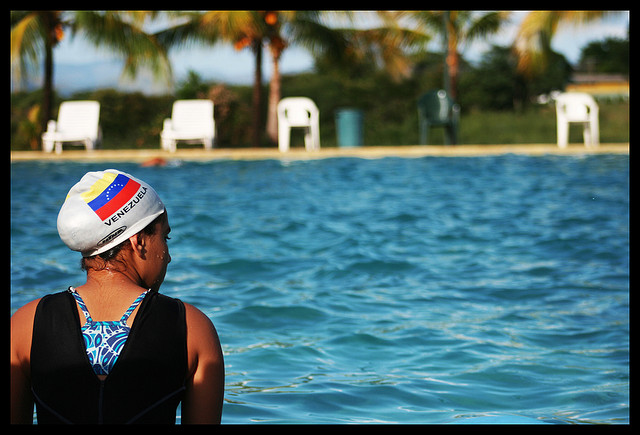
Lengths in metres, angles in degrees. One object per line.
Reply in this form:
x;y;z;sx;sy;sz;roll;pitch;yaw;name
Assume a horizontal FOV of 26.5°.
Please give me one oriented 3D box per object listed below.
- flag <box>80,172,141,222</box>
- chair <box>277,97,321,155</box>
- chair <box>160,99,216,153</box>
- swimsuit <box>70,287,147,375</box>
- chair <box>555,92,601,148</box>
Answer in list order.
-2.747;-0.291;17.820;0.694;0.611;0.187;41;-3;-1;flag
-0.468;-1.991;30.015;0.887;0.927;0.714;-2;-1;-1;chair
-2.915;-2.079;30.835;1.165;0.944;1.415;-3;14;9;chair
-2.758;1.529;17.759;1.184;1.241;0.192;0;4;5;swimsuit
5.729;-2.127;30.285;0.872;1.046;1.870;-2;-1;10;chair
